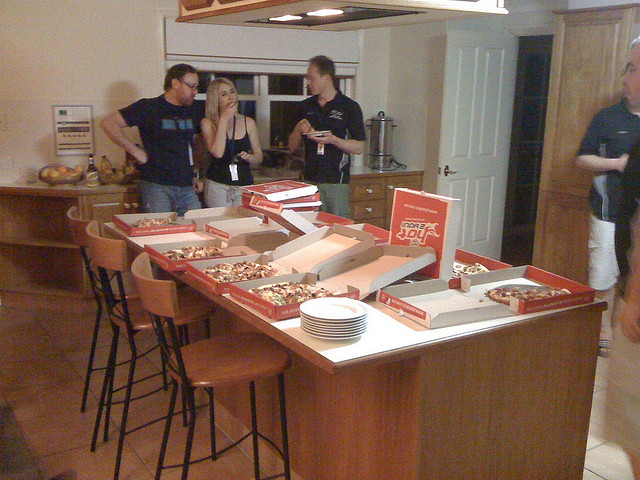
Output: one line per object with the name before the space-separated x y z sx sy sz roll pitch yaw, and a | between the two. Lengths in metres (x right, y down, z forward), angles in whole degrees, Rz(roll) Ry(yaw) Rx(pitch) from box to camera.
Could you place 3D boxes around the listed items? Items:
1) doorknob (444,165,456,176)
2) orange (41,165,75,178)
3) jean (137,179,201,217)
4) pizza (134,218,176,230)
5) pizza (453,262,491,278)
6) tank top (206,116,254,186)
doorknob | 1.384 -0.750 5.599 0.114 0.115 0.045 -13 23 -29
orange | -2.306 -0.602 4.581 0.282 0.085 0.136 -5 17 -11
jean | -1.345 -0.381 4.693 0.626 0.326 0.454 -4 16 -33
pizza | -1.044 -0.104 3.284 0.163 0.026 0.131 -4 12 -30
pizza | 0.723 0.141 2.472 0.110 0.010 0.086 -12 13 -25
tank top | -0.812 -0.759 4.544 0.414 0.594 0.182 -5 22 -6
